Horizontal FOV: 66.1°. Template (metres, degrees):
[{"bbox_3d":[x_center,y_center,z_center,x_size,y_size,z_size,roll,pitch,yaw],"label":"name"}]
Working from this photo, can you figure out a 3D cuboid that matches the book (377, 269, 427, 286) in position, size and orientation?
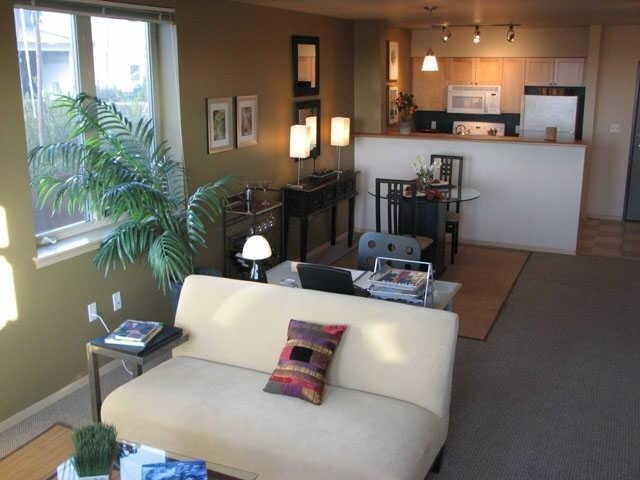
[{"bbox_3d":[0.599,0.272,3.535,0.173,0.044,0.173,8,16,36],"label":"book"}]

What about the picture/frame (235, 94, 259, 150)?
[{"bbox_3d":[-0.797,-1.273,5.294,0.043,0.641,0.526,6,13,24],"label":"picture/frame"}]

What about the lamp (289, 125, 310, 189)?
[{"bbox_3d":[-0.255,-1.056,6.130,0.254,0.714,0.487,-1,18,-3],"label":"lamp"}]

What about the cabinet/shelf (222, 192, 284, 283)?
[{"bbox_3d":[-0.699,-0.037,4.900,0.361,1.336,0.672,3,13,17],"label":"cabinet/shelf"}]

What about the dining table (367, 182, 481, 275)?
[{"bbox_3d":[1.222,-0.275,6.227,1.069,1.127,1.450,8,22,24],"label":"dining table"}]

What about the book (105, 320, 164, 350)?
[{"bbox_3d":[-1.219,0.615,3.193,0.187,0.047,0.198,4,21,6],"label":"book"}]

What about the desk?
[{"bbox_3d":[-0.035,-0.307,6.423,0.310,0.728,1.120,5,16,17],"label":"desk"}]

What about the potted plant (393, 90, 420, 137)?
[{"bbox_3d":[1.321,-1.979,7.777,0.381,0.624,0.339,-5,3,-6],"label":"potted plant"}]

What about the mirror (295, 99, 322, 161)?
[{"bbox_3d":[-0.160,-1.406,6.254,0.048,0.775,0.738,2,12,19],"label":"mirror"}]

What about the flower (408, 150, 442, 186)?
[{"bbox_3d":[1.313,-0.817,6.131,0.253,0.318,0.255,-6,-4,11],"label":"flower"}]

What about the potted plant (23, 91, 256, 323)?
[{"bbox_3d":[-1.219,-0.407,4.267,1.648,1.828,1.394,0,18,0],"label":"potted plant"}]

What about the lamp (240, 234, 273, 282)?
[{"bbox_3d":[-0.492,0.150,3.767,0.185,0.361,0.187,0,18,-27],"label":"lamp"}]

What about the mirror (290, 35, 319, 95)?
[{"bbox_3d":[-0.211,-2.173,6.116,0.025,0.734,0.703,5,15,22],"label":"mirror"}]

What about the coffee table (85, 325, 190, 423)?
[{"bbox_3d":[-1.178,0.865,3.186,0.415,0.658,0.449,9,19,19],"label":"coffee table"}]

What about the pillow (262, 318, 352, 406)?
[{"bbox_3d":[-0.081,0.713,2.934,0.407,0.443,0.129,6,-25,28],"label":"pillow"}]
